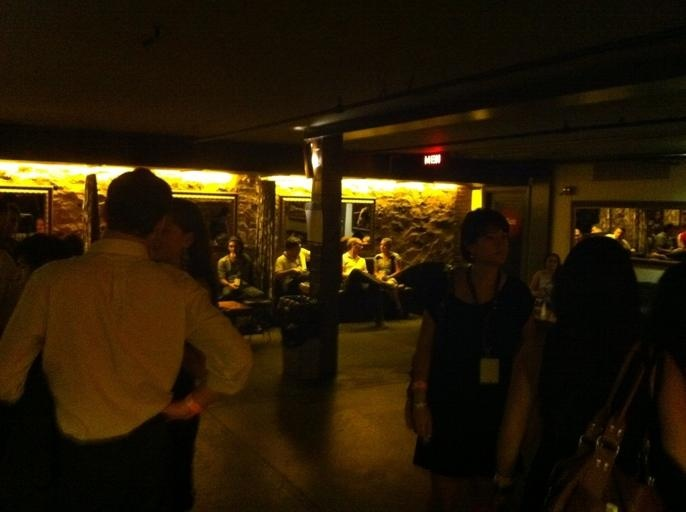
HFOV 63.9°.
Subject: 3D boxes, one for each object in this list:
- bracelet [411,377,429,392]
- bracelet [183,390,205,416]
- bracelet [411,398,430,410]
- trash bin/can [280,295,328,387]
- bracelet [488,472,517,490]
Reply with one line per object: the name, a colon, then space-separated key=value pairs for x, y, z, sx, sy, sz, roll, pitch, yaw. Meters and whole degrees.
bracelet: x=0.465 y=0.789 z=3.379 sx=0.095 sy=0.063 sz=0.122 roll=0 pitch=-4 yaw=4
bracelet: x=-0.693 y=0.683 z=2.554 sx=0.059 sy=0.090 sz=0.113 roll=-37 pitch=-2 yaw=-40
bracelet: x=0.459 y=0.898 z=3.338 sx=0.088 sy=0.038 sz=0.102 roll=-1 pitch=-3 yaw=3
trash bin/can: x=-0.620 y=1.105 z=7.774 sx=0.512 sy=1.062 sz=1.048 roll=1 pitch=4 yaw=-7
bracelet: x=0.959 y=1.373 z=3.339 sx=0.112 sy=0.087 sz=0.112 roll=4 pitch=-3 yaw=14
